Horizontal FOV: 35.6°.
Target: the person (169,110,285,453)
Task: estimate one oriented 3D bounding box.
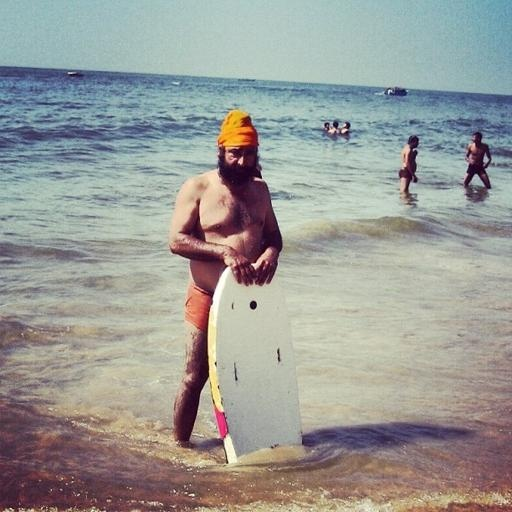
[{"bbox_3d":[-0.195,0.158,4.839,0.719,2.078,0.515,0,12,-18],"label":"person"}]

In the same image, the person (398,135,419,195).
[{"bbox_3d":[2.795,-1.668,14.458,0.330,1.054,0.769,6,10,10],"label":"person"}]

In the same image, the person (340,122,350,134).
[{"bbox_3d":[3.018,-4.365,27.020,0.312,0.444,0.844,5,9,6],"label":"person"}]
